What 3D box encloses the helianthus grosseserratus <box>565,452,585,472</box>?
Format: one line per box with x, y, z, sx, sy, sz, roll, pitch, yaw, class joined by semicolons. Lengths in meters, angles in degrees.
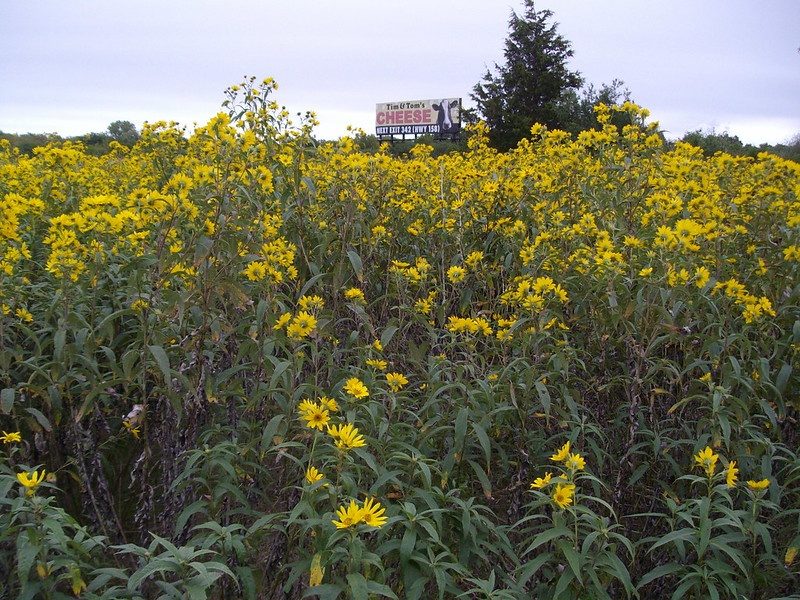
0.822;0.759;2.742;0.100;0.054;0.108;-3;19;-7;helianthus grosseserratus

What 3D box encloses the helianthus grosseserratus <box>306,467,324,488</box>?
-0.379;0.779;2.643;0.067;0.084;0.107;1;7;-2;helianthus grosseserratus
